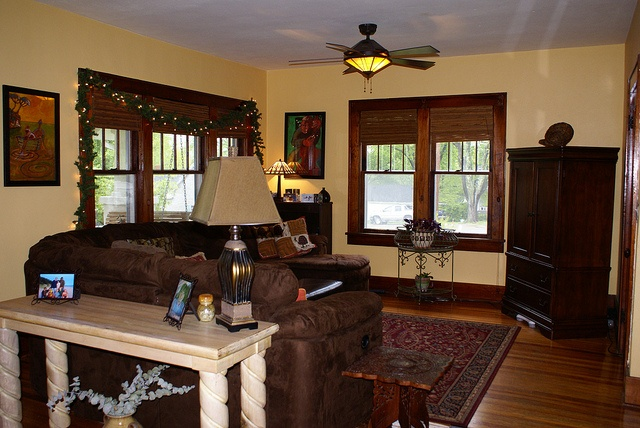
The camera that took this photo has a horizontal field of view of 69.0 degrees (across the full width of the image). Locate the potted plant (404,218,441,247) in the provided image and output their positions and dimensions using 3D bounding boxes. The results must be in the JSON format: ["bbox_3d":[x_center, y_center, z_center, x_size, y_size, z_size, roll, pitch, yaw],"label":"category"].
[{"bbox_3d":[1.474,0.262,6.595,0.425,0.331,0.418,1,-3,3],"label":"potted plant"}]

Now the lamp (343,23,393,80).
[{"bbox_3d":[0.537,-1.816,5.068,0.519,0.569,0.582,5,13,5],"label":"lamp"}]

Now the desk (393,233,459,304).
[{"bbox_3d":[1.551,0.776,7.015,0.913,1.003,0.935,3,-6,-18],"label":"desk"}]

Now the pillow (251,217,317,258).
[{"bbox_3d":[-0.549,0.331,6.632,0.632,0.587,0.184,-6,-21,-3],"label":"pillow"}]

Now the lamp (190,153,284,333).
[{"bbox_3d":[-0.558,0.173,3.083,0.461,1.099,0.483,-9,18,-41],"label":"lamp"}]

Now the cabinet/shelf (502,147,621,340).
[{"bbox_3d":[3.034,0.278,5.796,0.852,2.257,1.109,1,14,-9],"label":"cabinet/shelf"}]

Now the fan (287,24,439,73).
[{"bbox_3d":[0.572,-2.139,5.894,0.859,0.303,0.844,-4,6,-32],"label":"fan"}]

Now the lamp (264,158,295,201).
[{"bbox_3d":[-0.662,-0.558,7.626,0.610,0.698,0.618,0,-1,44],"label":"lamp"}]

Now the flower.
[{"bbox_3d":[-1.290,1.181,3.040,0.890,0.315,0.210,-1,9,-4],"label":"flower"}]

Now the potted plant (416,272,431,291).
[{"bbox_3d":[1.533,1.013,6.877,0.249,0.266,0.235,3,-4,-22],"label":"potted plant"}]

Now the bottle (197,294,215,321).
[{"bbox_3d":[-0.800,0.658,3.185,0.143,0.190,0.144,-7,-11,-1],"label":"bottle"}]
